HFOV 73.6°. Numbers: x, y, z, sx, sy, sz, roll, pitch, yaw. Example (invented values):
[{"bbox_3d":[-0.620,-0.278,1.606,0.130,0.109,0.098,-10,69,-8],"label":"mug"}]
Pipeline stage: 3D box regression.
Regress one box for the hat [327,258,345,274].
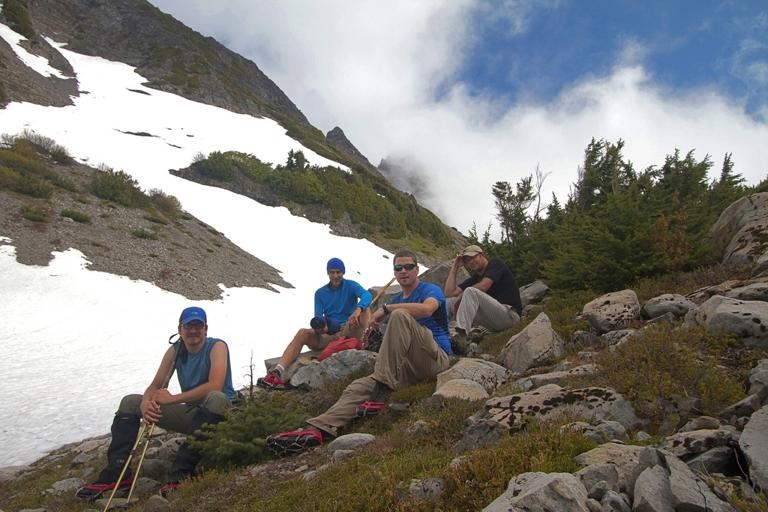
[{"bbox_3d":[-1.675,0.355,18.034,0.435,0.515,0.592,0,-14,-3],"label":"hat"}]
